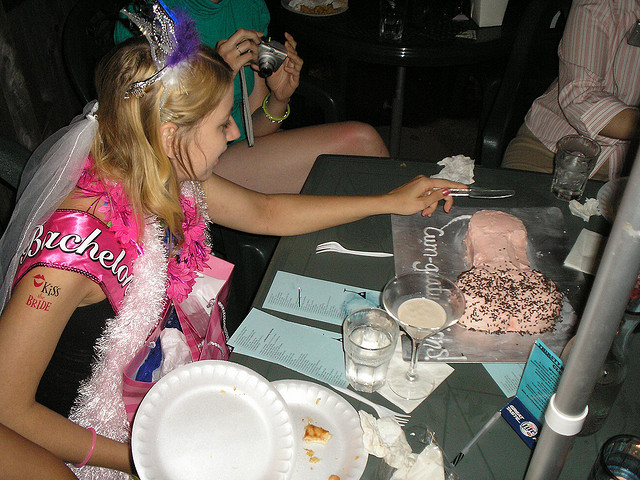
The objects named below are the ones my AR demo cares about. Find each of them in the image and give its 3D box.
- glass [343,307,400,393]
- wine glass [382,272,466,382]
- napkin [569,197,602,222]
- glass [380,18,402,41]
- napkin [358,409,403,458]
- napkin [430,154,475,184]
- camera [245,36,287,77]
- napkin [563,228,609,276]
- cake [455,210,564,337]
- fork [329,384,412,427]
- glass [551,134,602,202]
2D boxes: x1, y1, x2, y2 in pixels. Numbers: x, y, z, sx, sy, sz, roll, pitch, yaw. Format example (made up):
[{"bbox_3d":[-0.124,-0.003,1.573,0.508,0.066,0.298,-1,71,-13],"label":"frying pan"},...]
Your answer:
[{"bbox_3d":[0.111,0.283,1.212,0.111,0.135,0.115,25,29,27],"label":"glass"},{"bbox_3d":[0.264,0.198,1.257,0.192,0.146,0.210,-17,46,-13],"label":"wine glass"},{"bbox_3d":[0.871,-0.103,1.630,0.073,0.028,0.079,7,68,9],"label":"napkin"},{"bbox_3d":[0.369,-1.090,2.566,0.086,0.095,0.106,4,11,-2],"label":"glass"},{"bbox_3d":[0.134,0.425,1.098,0.089,0.054,0.092,-7,45,-4],"label":"napkin"},{"bbox_3d":[0.478,-0.255,1.791,0.160,0.051,0.182,6,46,9],"label":"napkin"},{"bbox_3d":[-0.217,-0.732,1.988,0.142,0.164,0.059,10,38,-19],"label":"camera"},{"bbox_3d":[0.803,0.024,1.504,0.081,0.133,0.007,3,43,3],"label":"napkin"},{"bbox_3d":[0.548,0.075,1.478,0.274,0.098,0.469,-2,40,12],"label":"cake"},{"bbox_3d":[0.117,0.387,1.156,0.147,0.019,0.020,27,46,34],"label":"fork"},{"bbox_3d":[0.873,-0.232,1.713,0.116,0.170,0.113,-12,28,-12],"label":"glass"}]
